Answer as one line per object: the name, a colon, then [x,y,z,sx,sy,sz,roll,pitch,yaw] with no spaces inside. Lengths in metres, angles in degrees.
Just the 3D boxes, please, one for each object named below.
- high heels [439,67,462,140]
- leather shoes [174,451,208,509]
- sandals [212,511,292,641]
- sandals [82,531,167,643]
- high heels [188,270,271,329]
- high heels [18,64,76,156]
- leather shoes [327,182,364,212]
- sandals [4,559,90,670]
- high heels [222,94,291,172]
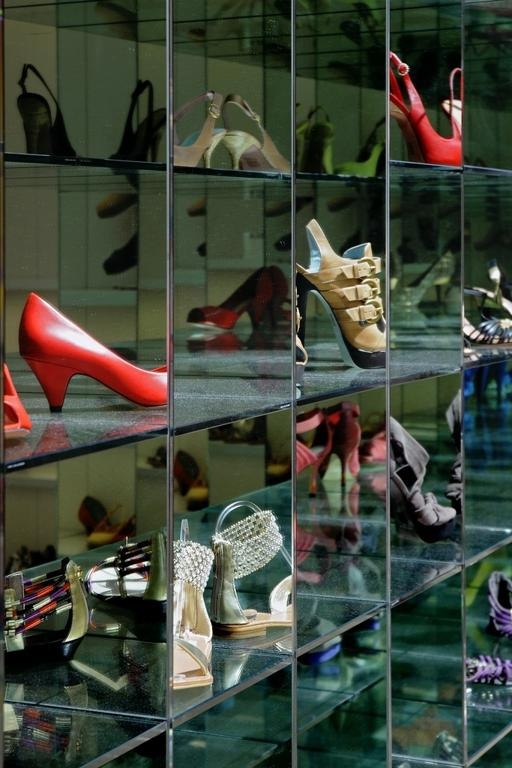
high heels: [0.375,-0.555,1.420,0.035,0.114,0.045,-1,-34,8]
leather shoes: [-0.157,0.213,1.630,0.070,0.130,0.048,-14,11,-39]
sandals: [-0.012,0.301,1.258,0.135,0.194,0.328,7,7,-2]
sandals: [-0.205,0.305,1.153,0.151,0.057,0.084,3,32,14]
high heels: [-0.044,-0.144,1.238,0.064,0.083,0.186,7,14,36]
high heels: [-0.288,-0.394,1.012,0.044,0.049,0.136,0,-3,11]
leather shoes: [0.165,-0.344,1.309,0.037,0.044,0.112,0,15,-8]
sandals: [-0.289,0.304,0.991,0.106,0.127,0.163,5,8,-18]
high heels: [0.002,-0.369,1.091,0.058,0.079,0.192,2,-1,32]
